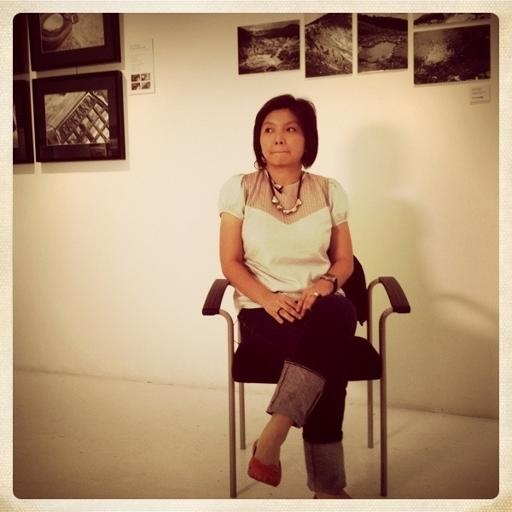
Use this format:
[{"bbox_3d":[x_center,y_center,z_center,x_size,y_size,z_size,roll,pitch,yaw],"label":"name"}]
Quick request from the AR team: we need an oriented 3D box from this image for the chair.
[{"bbox_3d":[0.200,0.326,2.002,0.785,1.187,0.789,-1,-6,8],"label":"chair"}]

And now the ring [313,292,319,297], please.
[{"bbox_3d":[0.209,0.133,1.705,0.012,0.014,0.004,13,4,19],"label":"ring"}]

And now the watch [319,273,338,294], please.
[{"bbox_3d":[0.263,0.102,1.779,0.043,0.082,0.068,-2,-4,7],"label":"watch"}]

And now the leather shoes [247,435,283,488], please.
[{"bbox_3d":[0.029,0.615,1.513,0.094,0.114,0.153,2,8,3],"label":"leather shoes"}]

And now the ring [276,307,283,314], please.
[{"bbox_3d":[0.078,0.186,1.676,0.019,0.022,0.012,2,7,3],"label":"ring"}]
